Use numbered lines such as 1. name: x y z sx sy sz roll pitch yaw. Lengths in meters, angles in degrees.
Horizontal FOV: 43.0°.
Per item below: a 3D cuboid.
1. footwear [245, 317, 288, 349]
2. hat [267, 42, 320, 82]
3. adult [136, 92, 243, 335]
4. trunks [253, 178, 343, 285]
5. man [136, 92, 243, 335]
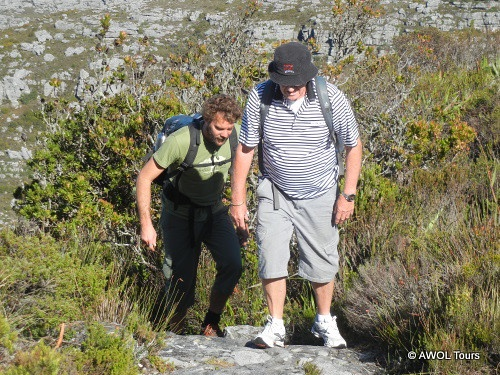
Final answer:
1. footwear: 0.242 1.696 7.528 0.225 0.331 0.593 -5 -17 33
2. hat: 0.473 -1.448 7.341 0.618 0.333 0.672 21 34 37
3. adult: -0.587 0.461 8.140 1.407 3.542 1.204 6 21 6
4. trunks: 0.595 0.495 7.575 1.096 1.961 0.643 0 -5 2
5. man: -0.611 0.433 8.161 1.440 3.572 1.150 3 21 -1
